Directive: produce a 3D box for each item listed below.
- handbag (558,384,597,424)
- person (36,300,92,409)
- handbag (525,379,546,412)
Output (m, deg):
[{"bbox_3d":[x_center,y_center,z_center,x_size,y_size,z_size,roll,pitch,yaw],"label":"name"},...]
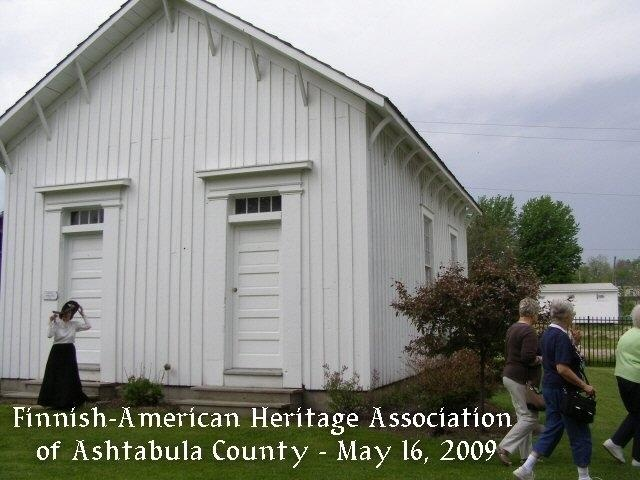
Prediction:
[{"bbox_3d":[3.509,2.211,9.264,0.464,0.542,0.244,22,-27,-16],"label":"handbag"},{"bbox_3d":[-5.119,2.328,13.626,0.927,2.140,0.458,-2,3,-22],"label":"person"},{"bbox_3d":[3.089,2.250,9.853,0.139,0.427,0.409,-12,-25,30],"label":"handbag"}]
